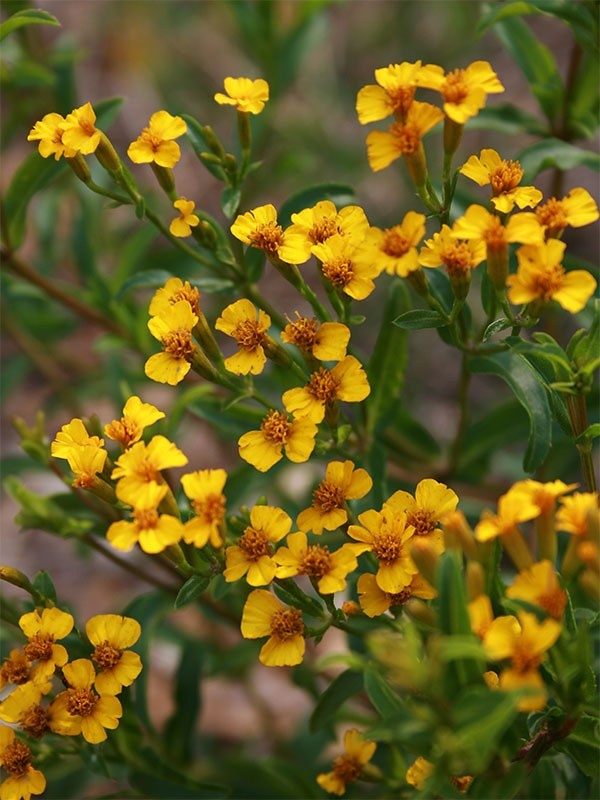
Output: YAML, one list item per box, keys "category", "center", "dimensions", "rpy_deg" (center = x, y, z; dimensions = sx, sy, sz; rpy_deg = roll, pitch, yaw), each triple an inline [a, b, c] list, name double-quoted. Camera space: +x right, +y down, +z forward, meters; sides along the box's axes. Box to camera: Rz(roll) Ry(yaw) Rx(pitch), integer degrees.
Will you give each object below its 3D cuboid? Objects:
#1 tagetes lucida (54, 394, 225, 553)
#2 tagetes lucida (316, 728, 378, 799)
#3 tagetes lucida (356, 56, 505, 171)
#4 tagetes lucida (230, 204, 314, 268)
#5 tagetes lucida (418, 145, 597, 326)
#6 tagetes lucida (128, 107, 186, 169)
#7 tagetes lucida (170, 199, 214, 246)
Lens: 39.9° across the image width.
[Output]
- category: "tagetes lucida"
  center: [-0.291, 0.148, 1.374]
  dimensions: [0.314, 0.107, 0.282]
  rpy_deg: [13, 47, 7]
- category: "tagetes lucida"
  center: [0.083, 0.602, 1.358]
  dimensions: [0.061, 0.110, 0.117]
  rpy_deg: [28, 78, 11]
- category: "tagetes lucida"
  center: [0.203, -0.517, 1.402]
  dimensions: [0.251, 0.096, 0.191]
  rpy_deg: [-21, 74, -3]
- category: "tagetes lucida"
  center: [-0.052, -0.302, 1.533]
  dimensions: [0.134, 0.136, 0.048]
  rpy_deg: [26, 104, 10]
- category: "tagetes lucida"
  center: [0.350, -0.242, 1.428]
  dimensions: [0.338, 0.156, 0.328]
  rpy_deg: [-1, 54, 21]
- category: "tagetes lucida"
  center: [-0.283, -0.503, 1.585]
  dimensions: [0.115, 0.114, 0.037]
  rpy_deg: [-27, 65, 16]
- category: "tagetes lucida"
  center: [-0.216, -0.364, 1.663]
  dimensions: [0.077, 0.034, 0.115]
  rpy_deg: [-40, 48, 21]
